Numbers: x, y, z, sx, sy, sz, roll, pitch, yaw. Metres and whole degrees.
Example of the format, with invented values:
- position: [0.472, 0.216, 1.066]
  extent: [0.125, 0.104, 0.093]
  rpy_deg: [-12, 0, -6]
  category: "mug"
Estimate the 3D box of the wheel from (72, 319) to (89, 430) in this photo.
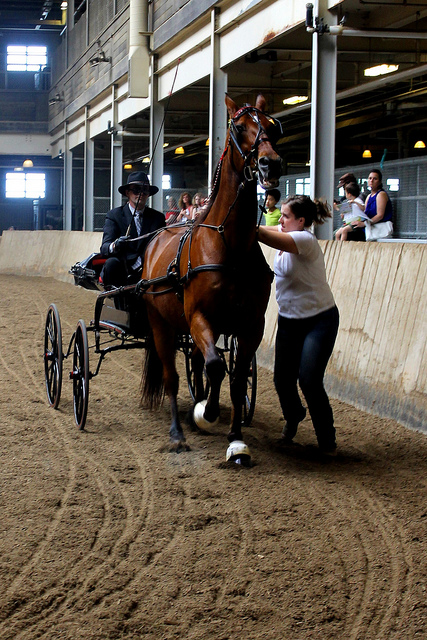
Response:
- position: [-1.078, 0.437, 4.883]
  extent: [0.116, 0.851, 0.708]
  rpy_deg: [0, 5, -12]
  category: "wheel"

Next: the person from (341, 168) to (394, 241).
- position: [1.985, -1.437, 7.555]
  extent: [0.358, 0.894, 0.577]
  rpy_deg: [-4, 7, -43]
  category: "person"

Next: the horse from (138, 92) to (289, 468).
- position: [-0.064, -0.241, 4.090]
  extent: [0.779, 2.378, 2.114]
  rpy_deg: [0, 5, -11]
  category: "horse"

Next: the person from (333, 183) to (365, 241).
- position: [1.774, -1.321, 7.851]
  extent: [0.495, 0.836, 0.371]
  rpy_deg: [-8, 14, 9]
  category: "person"
